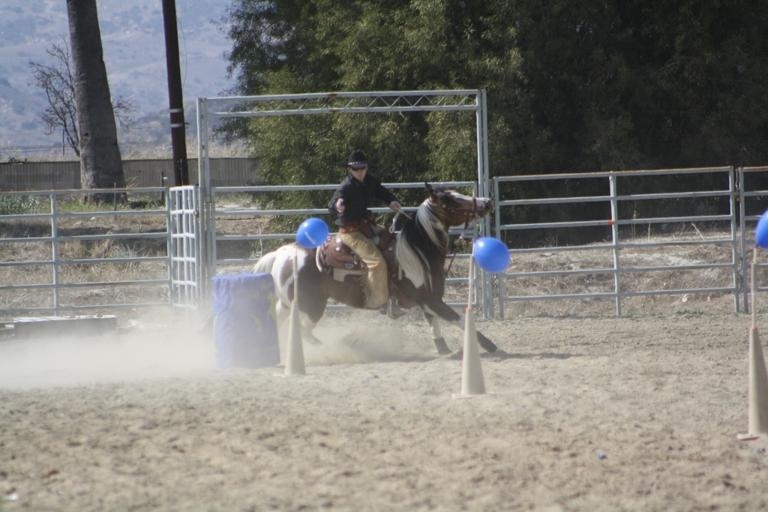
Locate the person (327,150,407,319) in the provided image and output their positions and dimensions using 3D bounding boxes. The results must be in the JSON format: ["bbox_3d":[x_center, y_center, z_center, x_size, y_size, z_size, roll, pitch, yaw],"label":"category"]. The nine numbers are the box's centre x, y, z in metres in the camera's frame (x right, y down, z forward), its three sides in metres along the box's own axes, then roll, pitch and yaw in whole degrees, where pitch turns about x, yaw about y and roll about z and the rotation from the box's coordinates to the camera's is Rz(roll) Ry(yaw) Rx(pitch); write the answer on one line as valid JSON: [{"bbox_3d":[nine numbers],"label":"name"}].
[{"bbox_3d":[-0.401,-0.518,23.491,1.224,3.105,0.484,-2,3,-1],"label":"person"}]

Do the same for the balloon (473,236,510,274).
[{"bbox_3d":[1.982,-0.056,22.354,0.671,0.568,0.541,33,-8,-8],"label":"balloon"}]
